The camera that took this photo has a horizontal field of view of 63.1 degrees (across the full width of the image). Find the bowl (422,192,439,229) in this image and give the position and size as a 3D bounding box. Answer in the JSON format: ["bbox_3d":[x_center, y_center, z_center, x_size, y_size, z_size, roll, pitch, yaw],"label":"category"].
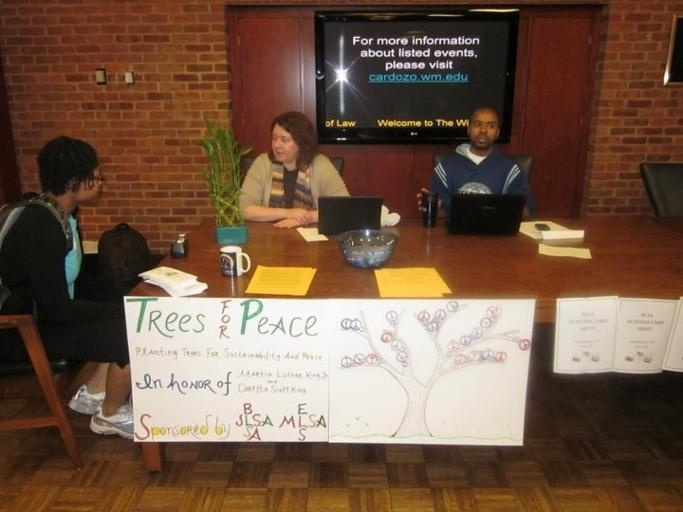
[{"bbox_3d":[0.480,-0.247,3.088,0.106,0.176,0.107,3,-1,0],"label":"bowl"}]

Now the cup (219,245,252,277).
[{"bbox_3d":[-0.464,0.020,2.465,0.159,0.118,0.100,9,14,15],"label":"cup"}]

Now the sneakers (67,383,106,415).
[{"bbox_3d":[-1.281,0.732,2.795,0.130,0.092,0.219,2,18,-7],"label":"sneakers"}]

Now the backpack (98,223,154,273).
[{"bbox_3d":[-1.460,-0.061,3.813,0.262,0.367,0.383,-20,10,-36],"label":"backpack"}]

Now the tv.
[{"bbox_3d":[0.616,-1.556,4.656,1.439,0.887,0.099,0,16,2],"label":"tv"}]

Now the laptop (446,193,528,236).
[{"bbox_3d":[0.742,-0.215,2.962,0.331,0.215,0.229,2,21,3],"label":"laptop"}]

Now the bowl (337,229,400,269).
[{"bbox_3d":[0.120,-0.035,2.563,0.266,0.126,0.244,-1,19,0],"label":"bowl"}]

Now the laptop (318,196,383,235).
[{"bbox_3d":[0.038,-0.185,2.767,0.303,0.202,0.211,0,37,2],"label":"laptop"}]
